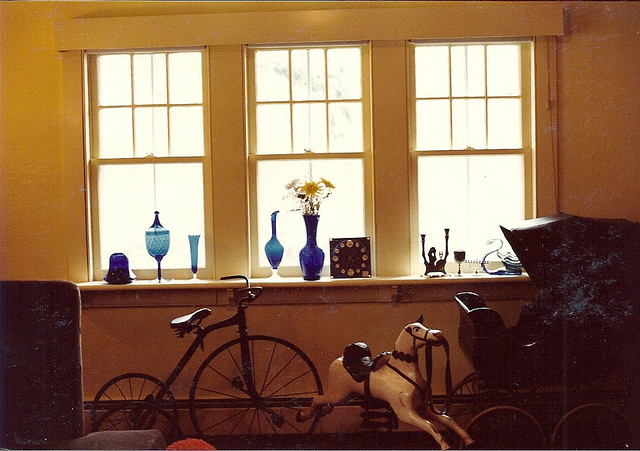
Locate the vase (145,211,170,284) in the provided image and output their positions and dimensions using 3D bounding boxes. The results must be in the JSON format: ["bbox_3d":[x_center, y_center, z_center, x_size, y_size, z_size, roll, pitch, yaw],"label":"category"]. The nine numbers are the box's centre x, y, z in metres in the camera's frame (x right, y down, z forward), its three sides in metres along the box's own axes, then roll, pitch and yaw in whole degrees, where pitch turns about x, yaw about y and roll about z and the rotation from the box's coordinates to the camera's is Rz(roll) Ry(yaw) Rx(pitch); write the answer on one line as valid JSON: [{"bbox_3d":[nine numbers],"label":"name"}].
[{"bbox_3d":[-1.186,0.153,6.286,0.131,0.519,0.149,-4,-3,34],"label":"vase"}]

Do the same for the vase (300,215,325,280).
[{"bbox_3d":[-0.060,0.158,6.236,0.175,0.466,0.105,-2,-2,-2],"label":"vase"}]

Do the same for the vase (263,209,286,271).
[{"bbox_3d":[-0.360,0.100,6.314,0.183,0.443,0.119,-4,-3,36],"label":"vase"}]

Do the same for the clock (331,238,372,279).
[{"bbox_3d":[0.229,0.245,6.259,0.285,0.277,0.042,0,-4,0],"label":"clock"}]

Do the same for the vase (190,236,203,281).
[{"bbox_3d":[-0.915,0.242,6.345,0.091,0.328,0.128,-2,-2,-4],"label":"vase"}]

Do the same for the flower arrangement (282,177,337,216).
[{"bbox_3d":[-0.031,-0.213,6.275,0.306,0.161,0.250,-5,-23,-21],"label":"flower arrangement"}]
